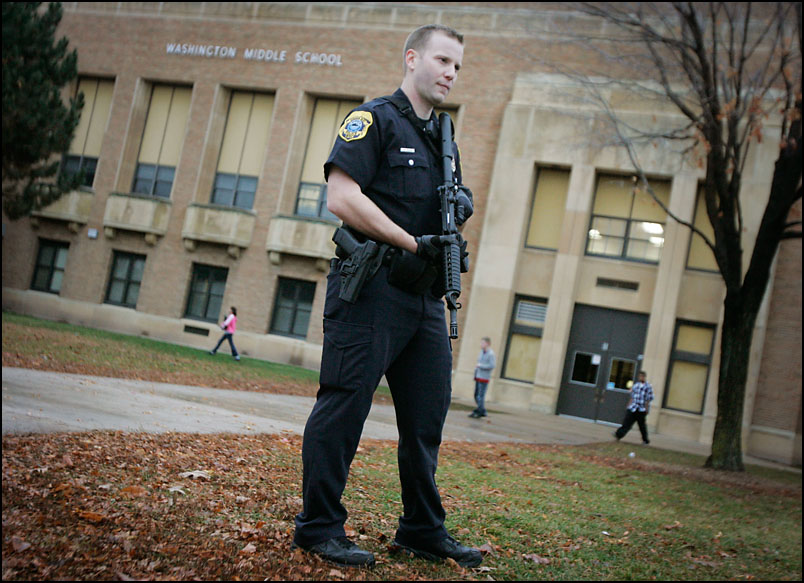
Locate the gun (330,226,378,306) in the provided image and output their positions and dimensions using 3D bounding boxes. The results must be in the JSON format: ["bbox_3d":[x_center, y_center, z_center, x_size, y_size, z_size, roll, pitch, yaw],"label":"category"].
[{"bbox_3d":[-0.288,-0.152,4.371,0.295,0.295,0.149,5,2,41],"label":"gun"}]

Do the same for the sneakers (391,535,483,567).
[{"bbox_3d":[0.203,1.473,4.473,0.495,0.219,0.182,1,-1,-4],"label":"sneakers"}]

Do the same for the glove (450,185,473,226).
[{"bbox_3d":[0.343,-0.503,4.519,0.096,0.291,0.084,-25,-48,28],"label":"glove"}]

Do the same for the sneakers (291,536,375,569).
[{"bbox_3d":[-0.397,1.439,4.380,0.450,0.187,0.166,5,-6,7],"label":"sneakers"}]

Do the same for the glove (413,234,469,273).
[{"bbox_3d":[0.262,-0.225,4.424,0.403,0.161,0.185,2,2,-40],"label":"glove"}]
